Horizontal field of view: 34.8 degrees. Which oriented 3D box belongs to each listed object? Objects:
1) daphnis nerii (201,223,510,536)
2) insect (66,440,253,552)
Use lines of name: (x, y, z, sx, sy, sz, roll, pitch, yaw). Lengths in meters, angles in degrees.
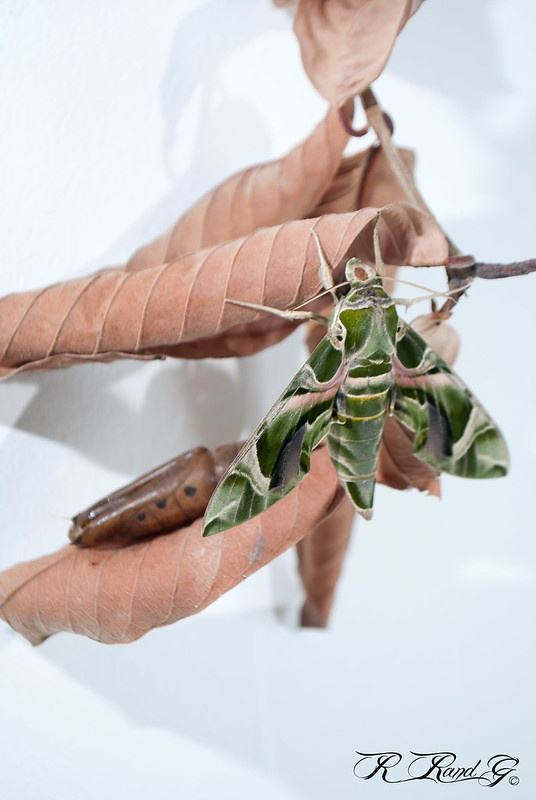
daphnis nerii: (0.075, -0.016, 0.624, 0.274, 0.221, 0.080, -1, 13, -7)
insect: (-0.062, 0.073, 0.756, 0.205, 0.057, 0.063, -17, -40, -20)
